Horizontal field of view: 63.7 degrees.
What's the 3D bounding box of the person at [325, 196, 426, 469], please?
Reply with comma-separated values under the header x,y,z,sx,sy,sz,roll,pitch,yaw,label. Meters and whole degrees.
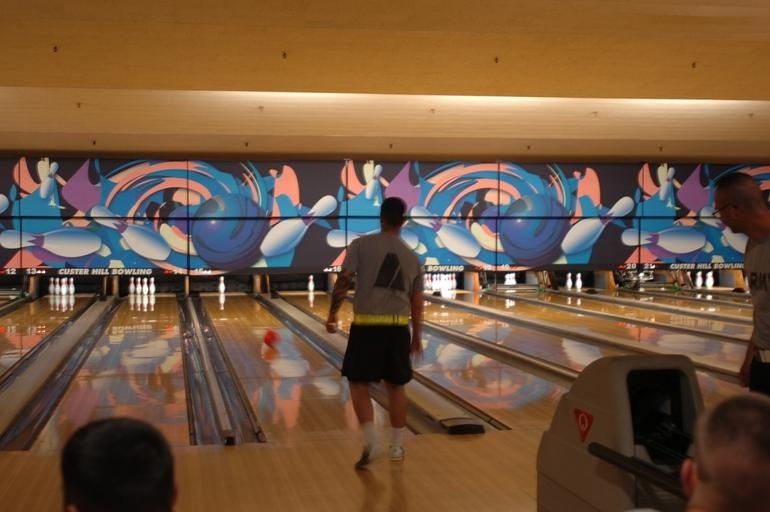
x,y,z,sx,sy,sz,roll,pitch,yaw,label
-0.022,0.432,3.728,0.565,1.552,0.381,-4,9,-30,person
